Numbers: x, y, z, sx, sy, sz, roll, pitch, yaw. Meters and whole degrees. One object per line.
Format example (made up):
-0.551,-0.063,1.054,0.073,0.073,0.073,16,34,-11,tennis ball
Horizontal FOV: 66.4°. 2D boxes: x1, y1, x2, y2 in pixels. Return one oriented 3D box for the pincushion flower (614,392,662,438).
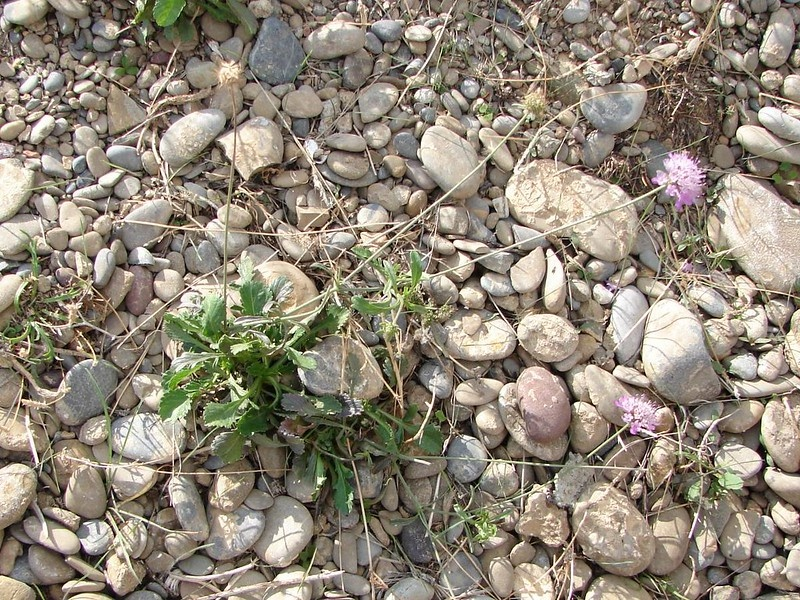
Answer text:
0.934,0.489,2.468,0.177,0.097,0.211,4,42,-15,pincushion flower
